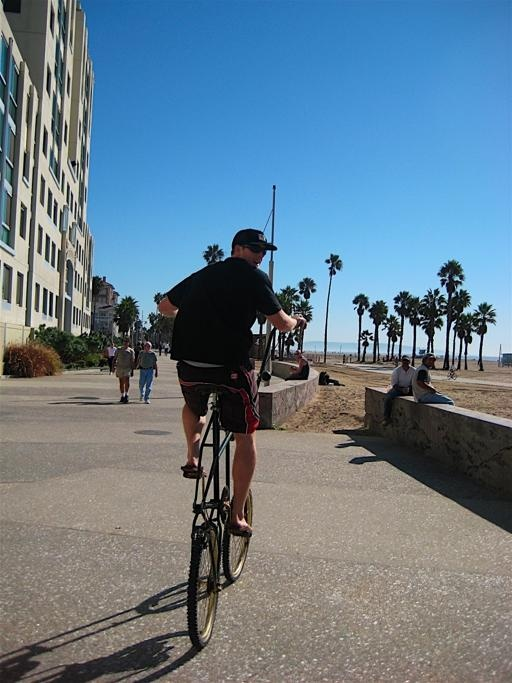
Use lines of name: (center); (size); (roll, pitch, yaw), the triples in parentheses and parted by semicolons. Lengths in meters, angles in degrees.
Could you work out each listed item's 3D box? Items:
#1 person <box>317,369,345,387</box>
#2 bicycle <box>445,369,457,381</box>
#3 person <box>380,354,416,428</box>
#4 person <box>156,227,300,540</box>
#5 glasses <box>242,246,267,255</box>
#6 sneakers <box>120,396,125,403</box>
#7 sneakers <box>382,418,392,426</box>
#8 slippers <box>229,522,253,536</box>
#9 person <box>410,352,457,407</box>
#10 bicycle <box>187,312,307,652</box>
person: (4.546, 2.256, 28.879); (0.773, 1.224, 2.698); (3, -3, 35)
bicycle: (22.425, 3.739, 53.496); (0.861, 1.403, 1.965); (1, -5, 1)
person: (3.186, 0.997, 10.041); (0.778, 1.620, 0.704); (-2, 9, -38)
person: (-0.181, 0.209, 2.652); (0.581, 1.762, 0.632); (6, 8, 19)
glasses: (-0.009, -0.535, 2.603); (0.067, 0.027, 0.071); (6, 3, -37)
sneakers: (-4.212, 1.780, 14.391); (0.195, 0.231, 0.173); (1, -3, 20)
sneakers: (2.759, 1.734, 9.873); (0.129, 0.217, 0.344); (2, -4, -1)
slippers: (-0.092, 1.017, 2.509); (0.056, 0.069, 0.162); (-12, -17, 24)
person: (3.407, 0.919, 8.855); (0.716, 1.467, 0.500); (0, -2, 31)
bicycle: (-0.158, 0.330, 2.874); (0.620, 1.602, 1.569); (6, 12, -4)
